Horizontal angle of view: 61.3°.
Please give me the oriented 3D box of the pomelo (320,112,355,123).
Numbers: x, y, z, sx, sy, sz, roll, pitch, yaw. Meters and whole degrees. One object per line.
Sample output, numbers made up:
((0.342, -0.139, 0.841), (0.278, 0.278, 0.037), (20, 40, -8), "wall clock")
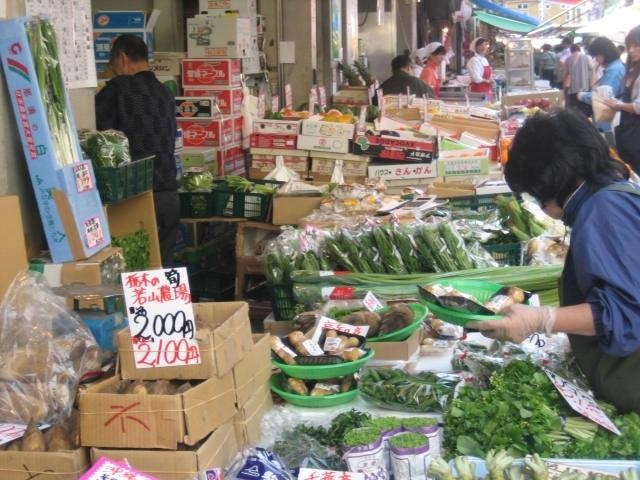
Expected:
((0.206, -1.425, 6.304), (0.300, 0.123, 0.301), (12, 0, -37), "pomelo")

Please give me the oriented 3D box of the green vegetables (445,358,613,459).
((0.702, 0.579, 2.245), (0.722, 0.257, 0.594), (-2, 6, -7), "green vegetables")

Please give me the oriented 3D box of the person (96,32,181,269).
((-1.592, -0.704, 4.818), (0.703, 2.118, 0.680), (3, 15, -11), "person")

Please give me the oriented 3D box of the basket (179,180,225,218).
((-1.133, -0.400, 5.260), (0.274, 0.303, 0.366), (1, 20, -6), "basket")

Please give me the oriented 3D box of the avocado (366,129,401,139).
((0.662, -1.134, 5.739), (0.363, 0.077, 0.129), (2, 17, 11), "avocado")

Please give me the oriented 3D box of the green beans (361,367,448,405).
((0.373, 0.650, 2.384), (0.392, 0.079, 0.222), (0, 17, 3), "green beans")

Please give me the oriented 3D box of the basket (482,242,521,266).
((1.347, 0.093, 3.931), (0.204, 0.123, 0.203), (-1, 2, -6), "basket")

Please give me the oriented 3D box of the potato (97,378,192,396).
((-0.589, 0.524, 1.941), (0.124, 0.032, 0.118), (1, -2, 13), "potato")

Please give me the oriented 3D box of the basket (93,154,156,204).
((-1.265, -0.390, 3.481), (0.348, 0.209, 0.598), (-13, 4, -25), "basket")

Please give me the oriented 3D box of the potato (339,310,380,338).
((0.214, 0.425, 2.778), (0.175, 0.092, 0.103), (-2, 13, 0), "potato")

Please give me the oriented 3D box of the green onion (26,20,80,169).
((-1.454, -0.817, 2.975), (0.155, 0.695, 0.257), (-3, 12, -12), "green onion")

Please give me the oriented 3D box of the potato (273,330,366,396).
((0.013, 0.528, 2.483), (0.344, 0.211, 0.431), (-1, 11, 10), "potato")

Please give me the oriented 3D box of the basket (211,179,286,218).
((-0.670, -0.418, 5.254), (0.662, 0.337, 0.453), (7, 18, 23), "basket")
